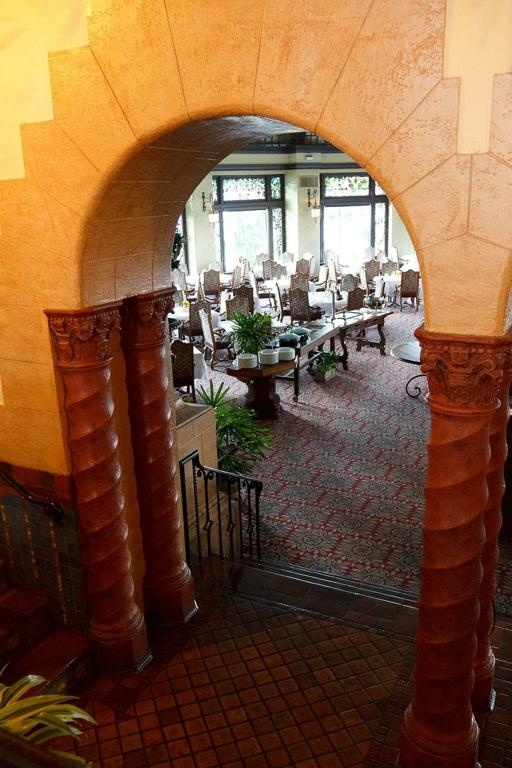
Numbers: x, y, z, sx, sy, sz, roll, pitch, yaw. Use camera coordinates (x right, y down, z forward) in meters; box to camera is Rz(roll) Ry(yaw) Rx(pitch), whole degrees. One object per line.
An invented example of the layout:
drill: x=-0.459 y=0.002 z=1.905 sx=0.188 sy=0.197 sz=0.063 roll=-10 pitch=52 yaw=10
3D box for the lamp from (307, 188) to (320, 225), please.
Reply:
lamp: x=1.961 y=-5.820 z=17.713 sx=0.488 sy=1.002 sz=0.410 roll=-9 pitch=14 yaw=-30

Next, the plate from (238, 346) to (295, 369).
plate: x=0.178 y=-0.398 z=8.231 sx=0.982 sy=0.215 sz=0.320 roll=-10 pitch=15 yaw=-35

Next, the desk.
desk: x=0.435 y=-0.185 z=8.849 sx=0.671 sy=0.531 sz=1.713 roll=17 pitch=43 yaw=25

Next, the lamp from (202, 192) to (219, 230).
lamp: x=-1.282 y=-5.022 z=15.834 sx=0.333 sy=1.010 sz=0.927 roll=0 pitch=12 yaw=10
